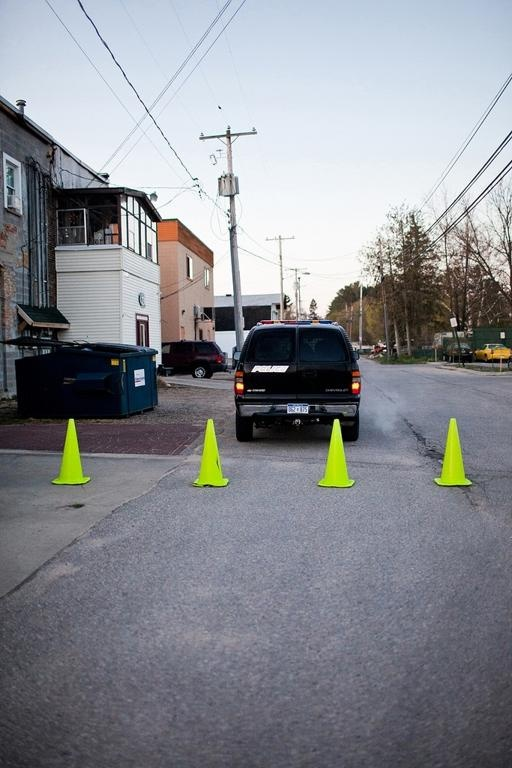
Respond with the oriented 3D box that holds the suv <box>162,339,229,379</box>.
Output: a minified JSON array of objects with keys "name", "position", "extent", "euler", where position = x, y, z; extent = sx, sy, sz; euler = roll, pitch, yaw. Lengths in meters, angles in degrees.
[{"name":"suv","position":[-3.297,-1.334,31.037],"extent":[2.963,1.527,1.631],"euler":[4,3,5]}]

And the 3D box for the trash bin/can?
[{"name":"trash bin/can","position":[-3.561,-0.019,12.912],"extent":[2.960,1.697,1.589],"euler":[-1,1,-26]}]

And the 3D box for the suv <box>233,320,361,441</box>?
[{"name":"suv","position":[0.590,-0.091,9.388],"extent":[1.084,1.221,2.335],"euler":[-1,8,3]}]
